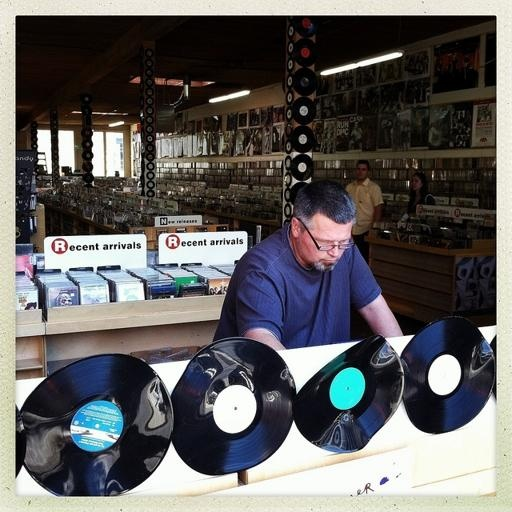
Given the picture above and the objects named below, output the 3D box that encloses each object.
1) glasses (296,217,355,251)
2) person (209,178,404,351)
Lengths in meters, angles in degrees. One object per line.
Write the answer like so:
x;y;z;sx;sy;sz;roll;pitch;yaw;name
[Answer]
0.229;-0.076;1.509;0.172;0.113;0.066;-1;7;2;glasses
0.222;0.053;1.606;0.807;0.656;0.560;-5;8;-31;person
